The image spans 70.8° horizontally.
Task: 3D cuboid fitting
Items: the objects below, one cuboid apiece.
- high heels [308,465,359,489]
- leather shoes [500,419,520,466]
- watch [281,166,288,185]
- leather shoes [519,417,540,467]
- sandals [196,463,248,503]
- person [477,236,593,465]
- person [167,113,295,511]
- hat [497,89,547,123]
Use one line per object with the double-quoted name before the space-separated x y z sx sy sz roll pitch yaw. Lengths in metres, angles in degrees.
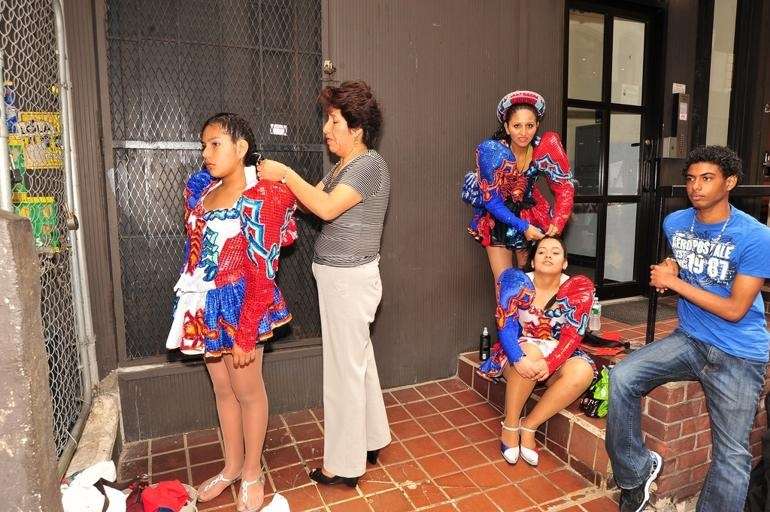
"high heels" -0.311 1.360 3.296 0.273 0.115 0.117 18 0 2
"leather shoes" 0.805 1.207 3.490 0.119 0.231 0.134 0 12 13
"watch" -0.548 -0.444 2.948 0.023 0.079 0.058 -1 9 -19
"leather shoes" 0.907 1.192 3.470 0.099 0.125 0.296 -2 28 -8
"sandals" -0.976 1.330 3.246 0.302 0.120 0.115 -23 50 -37
"person" 1.019 0.587 3.588 0.670 1.404 0.551 -5 12 -11
"person" -0.846 0.327 3.092 0.764 2.222 0.479 -5 12 -9
"hat" 0.947 -1.043 3.777 0.300 0.216 0.182 -1 12 8
